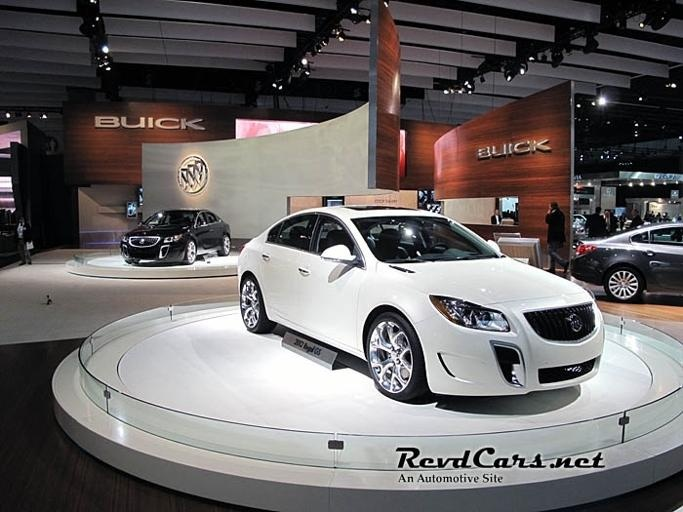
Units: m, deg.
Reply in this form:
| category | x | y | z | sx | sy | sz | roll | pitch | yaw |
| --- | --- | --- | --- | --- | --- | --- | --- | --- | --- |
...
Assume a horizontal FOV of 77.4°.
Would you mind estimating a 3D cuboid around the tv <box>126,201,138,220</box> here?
| category | x | y | z | sx | sy | sz | roll | pitch | yaw |
| --- | --- | --- | --- | --- | --- | --- | --- | --- | --- |
| tv | -10.704 | -2.348 | 21.791 | 0.097 | 0.560 | 0.766 | -4 | 7 | 35 |

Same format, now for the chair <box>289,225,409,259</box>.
| category | x | y | z | sx | sy | sz | roll | pitch | yaw |
| --- | --- | --- | --- | --- | --- | --- | --- | --- | --- |
| chair | 0.207 | -0.176 | 4.521 | 0.794 | 0.246 | 0.516 | 6 | 7 | 42 |

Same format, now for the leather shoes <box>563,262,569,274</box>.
| category | x | y | z | sx | sy | sz | roll | pitch | yaw |
| --- | --- | --- | --- | --- | --- | --- | --- | --- | --- |
| leather shoes | 5.951 | 0.280 | 11.336 | 0.094 | 0.306 | 0.125 | 0 | -11 | 9 |

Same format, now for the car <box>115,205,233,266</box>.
| category | x | y | z | sx | sy | sz | roll | pitch | yaw |
| --- | --- | --- | --- | --- | --- | --- | --- | --- | --- |
| car | -4.569 | -0.577 | 12.411 | 1.395 | 1.201 | 3.224 | 0 | 0 | 11 |

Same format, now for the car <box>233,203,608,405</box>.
| category | x | y | z | sx | sy | sz | roll | pitch | yaw |
| --- | --- | --- | --- | --- | --- | --- | --- | --- | --- |
| car | 0.382 | 0.404 | 4.305 | 1.627 | 1.162 | 3.323 | -2 | 6 | -34 |
